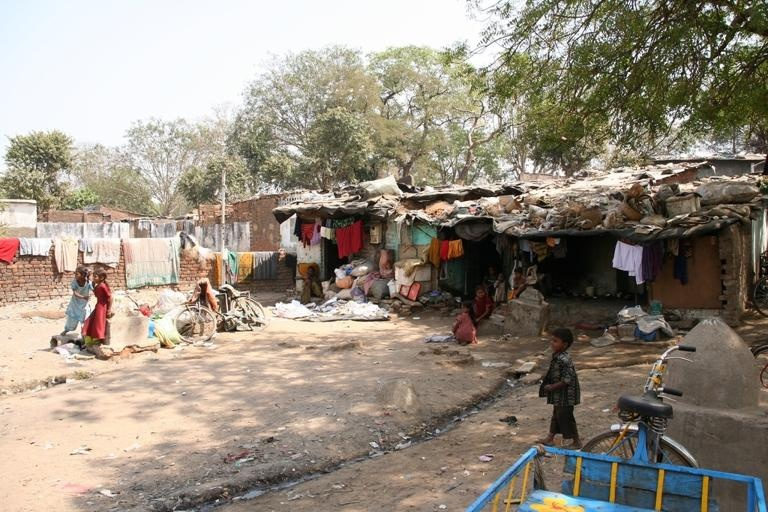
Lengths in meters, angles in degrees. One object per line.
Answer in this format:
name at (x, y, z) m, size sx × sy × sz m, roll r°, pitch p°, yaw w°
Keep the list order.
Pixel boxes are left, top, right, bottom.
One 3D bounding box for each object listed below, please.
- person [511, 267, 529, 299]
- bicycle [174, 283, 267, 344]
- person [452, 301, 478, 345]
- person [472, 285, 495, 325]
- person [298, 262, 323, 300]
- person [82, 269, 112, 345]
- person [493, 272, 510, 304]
person at (3.482, 0.640, 14.301) m, size 0.385 × 0.792 × 1.136 m, roll -2°, pitch -2°, yaw 14°
bicycle at (-3.862, 1.393, 13.522) m, size 0.952 × 1.129 × 2.095 m, roll -38°, pitch -12°, yaw 31°
person at (1.864, 1.512, 12.705) m, size 0.693 × 0.856 × 0.626 m, roll 5°, pitch 1°, yaw -18°
person at (2.351, 1.204, 13.802) m, size 0.821 × 0.928 × 0.584 m, roll -4°, pitch 8°, yaw -15°
person at (-2.542, 0.742, 18.908) m, size 0.889 × 1.544 × 0.882 m, roll -8°, pitch 42°, yaw -8°
person at (-5.765, 1.025, 11.275) m, size 0.406 × 1.339 × 0.869 m, roll -2°, pitch -1°, yaw -40°
person at (3.255, 0.903, 15.588) m, size 0.456 × 0.860 × 0.645 m, roll -2°, pitch -1°, yaw 9°
